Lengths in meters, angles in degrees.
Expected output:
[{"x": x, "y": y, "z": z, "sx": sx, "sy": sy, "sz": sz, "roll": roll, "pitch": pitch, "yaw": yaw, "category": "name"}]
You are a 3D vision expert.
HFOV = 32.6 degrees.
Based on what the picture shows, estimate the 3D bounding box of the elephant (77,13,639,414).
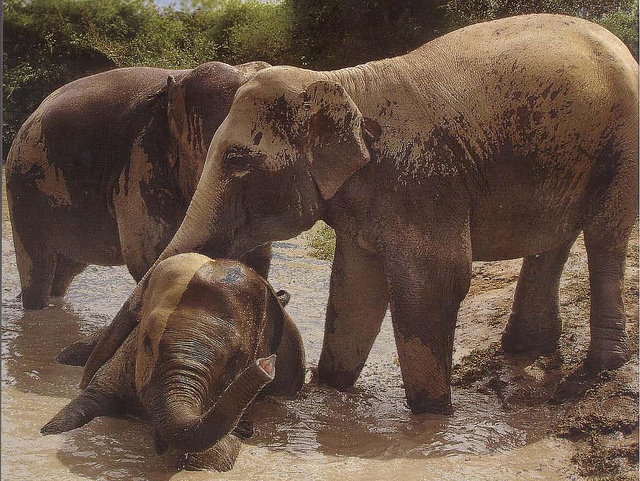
[{"x": 0.535, "y": -0.209, "z": 4.856, "sx": 2.918, "sy": 2.036, "sz": 0.971, "roll": -2, "pitch": 1, "yaw": -8, "category": "elephant"}]

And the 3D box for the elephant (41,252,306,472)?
[{"x": -0.493, "y": 0.400, "z": 3.585, "sx": 0.835, "sy": 0.656, "sz": 0.778, "roll": 4, "pitch": 11, "yaw": -6, "category": "elephant"}]
